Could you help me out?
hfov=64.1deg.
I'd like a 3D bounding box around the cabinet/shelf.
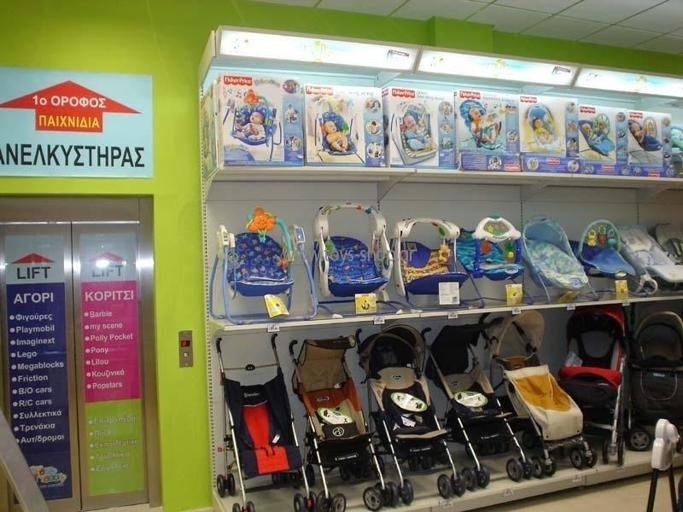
[{"bbox_3d":[0.715,0.169,4.502,3.932,3.435,1.271,-2,3,-16],"label":"cabinet/shelf"}]
